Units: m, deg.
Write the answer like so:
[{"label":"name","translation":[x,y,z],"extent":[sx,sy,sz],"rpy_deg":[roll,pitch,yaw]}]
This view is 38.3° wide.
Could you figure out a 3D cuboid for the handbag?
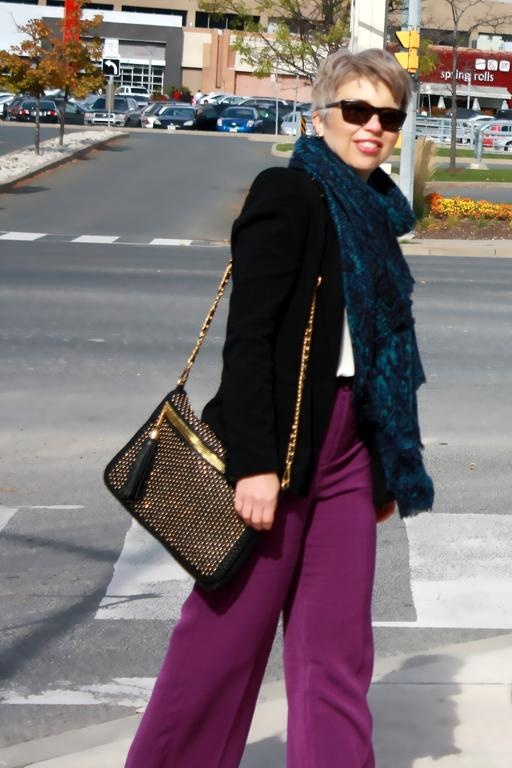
[{"label":"handbag","translation":[-0.138,0.196,1.358],"extent":[0.360,0.356,0.114],"rpy_deg":[41,3,23]}]
